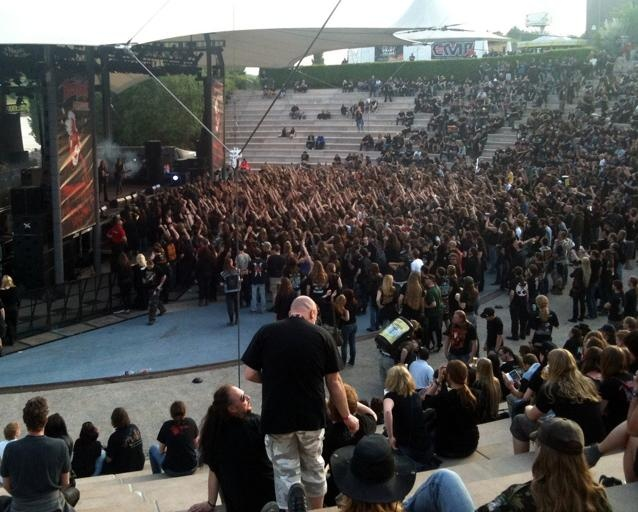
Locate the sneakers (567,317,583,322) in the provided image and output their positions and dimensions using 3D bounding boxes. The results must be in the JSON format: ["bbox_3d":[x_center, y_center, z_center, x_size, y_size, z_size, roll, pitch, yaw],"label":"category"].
[{"bbox_3d":[5.512,1.396,13.737,0.291,0.145,0.098,-1,6,13],"label":"sneakers"}]

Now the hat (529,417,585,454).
[{"bbox_3d":[1.549,1.160,4.142,0.280,0.223,0.400,9,-8,-13],"label":"hat"}]

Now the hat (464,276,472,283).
[{"bbox_3d":[2.672,0.440,11.417,0.109,0.056,0.118,0,7,0],"label":"hat"}]

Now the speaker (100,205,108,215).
[{"bbox_3d":[-8.397,-1.783,25.247,0.194,0.119,0.501,-21,24,-7],"label":"speaker"}]

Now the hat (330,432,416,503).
[{"bbox_3d":[0.338,1.299,4.012,0.537,0.367,0.443,0,8,8],"label":"hat"}]
